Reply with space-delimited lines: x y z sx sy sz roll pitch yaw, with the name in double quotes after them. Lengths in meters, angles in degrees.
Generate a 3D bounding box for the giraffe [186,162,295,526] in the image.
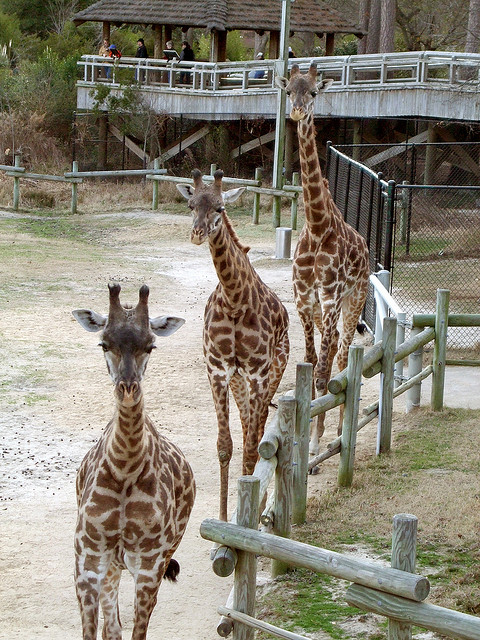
-0.055 0.223 16.921 1.359 3.506 0.564 -5 10 -36 "giraffe"

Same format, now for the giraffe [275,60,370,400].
0.910 -0.981 18.448 1.271 3.567 0.628 -7 11 -43 "giraffe"
